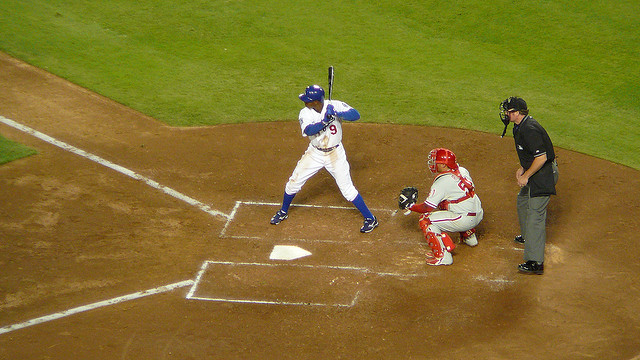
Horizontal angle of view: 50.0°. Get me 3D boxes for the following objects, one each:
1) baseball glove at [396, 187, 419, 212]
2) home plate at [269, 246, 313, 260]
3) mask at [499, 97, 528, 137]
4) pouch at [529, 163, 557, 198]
[{"bbox_3d":[1.808,0.366,14.193,0.335,0.375,0.462,10,50,3],"label":"baseball glove"},{"bbox_3d":[-0.633,1.510,14.416,0.821,0.040,0.356,1,47,-3],"label":"home plate"},{"bbox_3d":[4.033,-1.323,14.169,0.769,0.773,0.620,7,9,8],"label":"mask"},{"bbox_3d":[4.504,-0.028,13.936,0.546,0.678,0.596,-3,18,-10],"label":"pouch"}]
